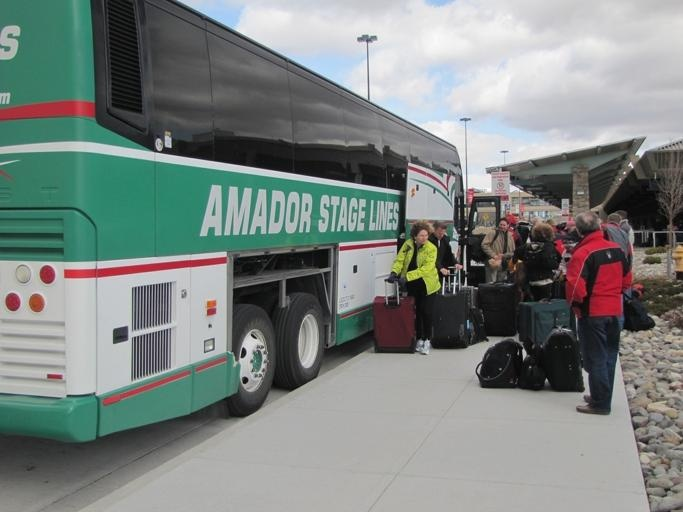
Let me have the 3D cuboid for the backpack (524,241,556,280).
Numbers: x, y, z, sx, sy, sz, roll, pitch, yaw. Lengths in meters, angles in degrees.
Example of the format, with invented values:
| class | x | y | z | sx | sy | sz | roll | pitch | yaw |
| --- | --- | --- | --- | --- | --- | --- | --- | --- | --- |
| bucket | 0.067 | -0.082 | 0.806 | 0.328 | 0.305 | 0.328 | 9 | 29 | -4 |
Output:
| class | x | y | z | sx | sy | sz | roll | pitch | yaw |
| --- | --- | --- | --- | --- | --- | --- | --- | --- | --- |
| backpack | 3.975 | 0.075 | 10.006 | 0.557 | 0.723 | 0.379 | 9 | 15 | 41 |

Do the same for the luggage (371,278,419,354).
| class | x | y | z | sx | sy | sz | roll | pitch | yaw |
| --- | --- | --- | --- | --- | --- | --- | --- | --- | --- |
| luggage | 1.000 | 1.055 | 9.484 | 0.748 | 1.432 | 0.481 | 0 | 14 | 15 |

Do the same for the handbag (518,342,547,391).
| class | x | y | z | sx | sy | sz | roll | pitch | yaw |
| --- | --- | --- | --- | --- | --- | --- | --- | --- | --- |
| handbag | 2.639 | 1.637 | 7.278 | 0.391 | 0.633 | 0.609 | 3 | -5 | 15 |

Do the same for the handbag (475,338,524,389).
| class | x | y | z | sx | sy | sz | roll | pitch | yaw |
| --- | --- | --- | --- | --- | --- | --- | --- | --- | --- |
| handbag | 2.329 | 1.467 | 7.452 | 0.744 | 0.843 | 0.621 | -2 | 24 | 17 |

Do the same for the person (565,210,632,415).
| class | x | y | z | sx | sy | sz | roll | pitch | yaw |
| --- | --- | --- | --- | --- | --- | --- | --- | --- | --- |
| person | 3.125 | 0.696 | 6.143 | 0.802 | 2.486 | 0.316 | 0 | 1 | -17 |

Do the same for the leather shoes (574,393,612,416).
| class | x | y | z | sx | sy | sz | roll | pitch | yaw |
| --- | --- | --- | --- | --- | --- | --- | --- | --- | --- |
| leather shoes | 3.125 | 1.899 | 6.263 | 0.397 | 0.297 | 0.141 | 11 | 10 | 39 |

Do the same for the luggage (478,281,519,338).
| class | x | y | z | sx | sy | sz | roll | pitch | yaw |
| --- | --- | --- | --- | --- | --- | --- | --- | --- | --- |
| luggage | 3.369 | 1.300 | 10.887 | 0.805 | 1.263 | 0.714 | -1 | -23 | 16 |

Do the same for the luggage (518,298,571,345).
| class | x | y | z | sx | sy | sz | roll | pitch | yaw |
| --- | --- | --- | --- | --- | --- | --- | --- | --- | --- |
| luggage | 3.444 | 1.099 | 8.373 | 0.835 | 0.728 | 0.471 | -4 | 6 | -19 |
